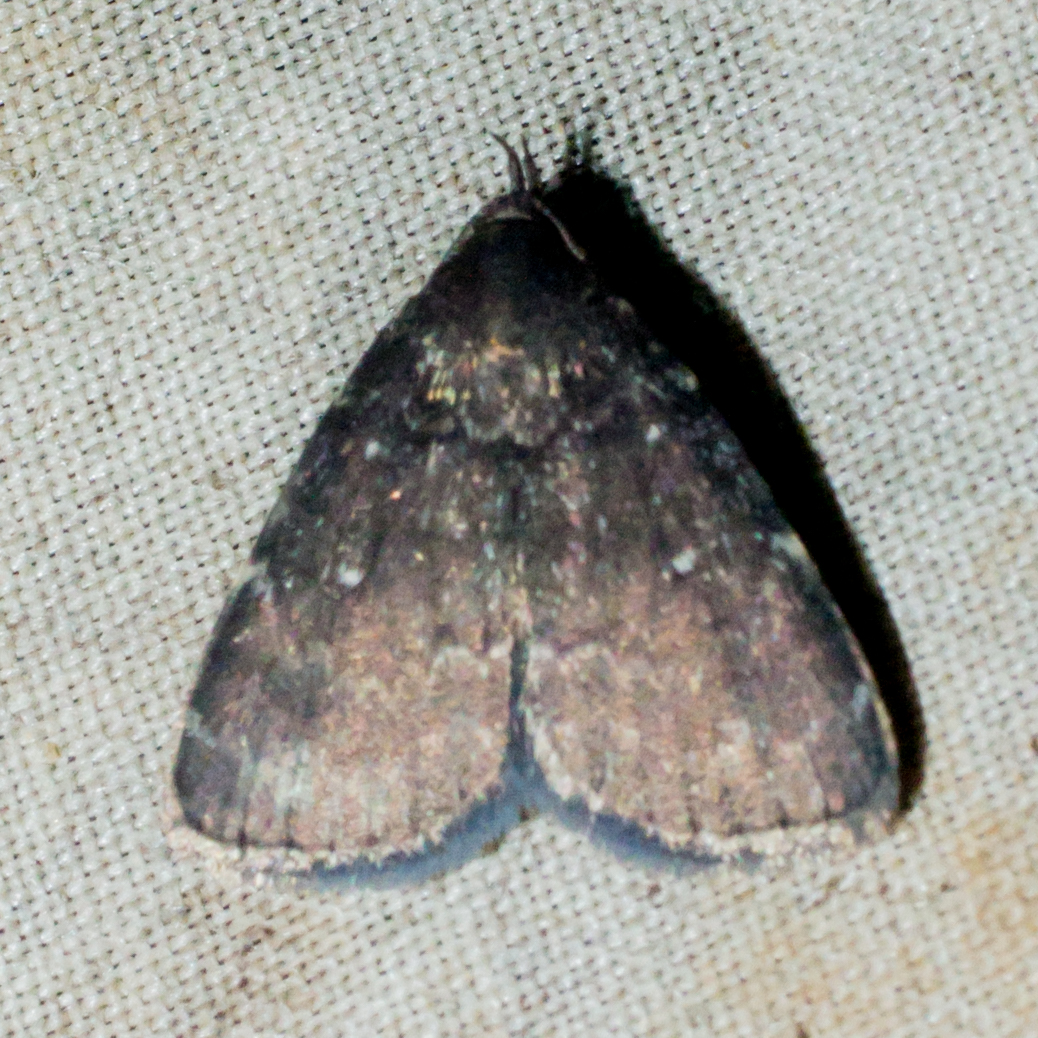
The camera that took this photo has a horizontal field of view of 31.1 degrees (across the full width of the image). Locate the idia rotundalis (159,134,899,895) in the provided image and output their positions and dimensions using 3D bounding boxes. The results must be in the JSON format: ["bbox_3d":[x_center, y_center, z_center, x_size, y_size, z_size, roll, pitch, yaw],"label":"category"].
[{"bbox_3d":[0.021,-0.012,1.241,0.361,0.480,0.133,-1,5,3],"label":"idia rotundalis"}]
